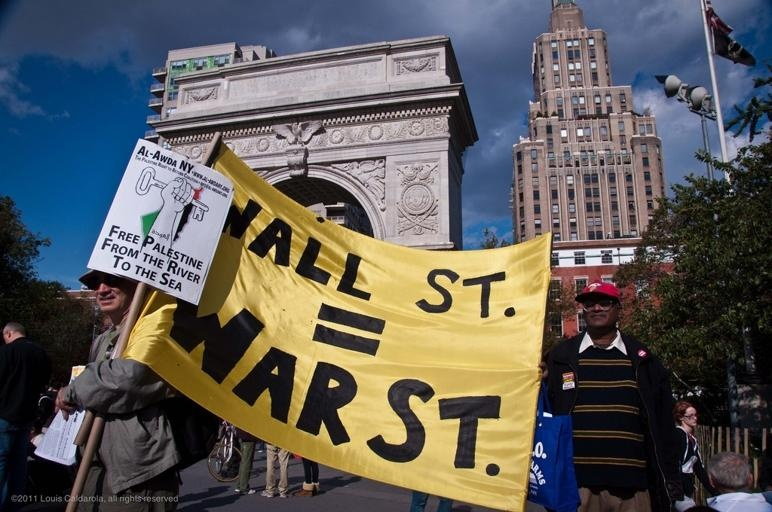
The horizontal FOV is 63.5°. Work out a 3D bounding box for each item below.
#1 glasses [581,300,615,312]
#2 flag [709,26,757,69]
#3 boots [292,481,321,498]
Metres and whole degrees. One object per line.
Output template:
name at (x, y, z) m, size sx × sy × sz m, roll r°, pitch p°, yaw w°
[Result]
glasses at (2.473, 0.572, 7.298) m, size 0.222 × 0.171 × 0.379 m, roll -1°, pitch -10°, yaw 29°
flag at (10.526, -6.310, 19.045) m, size 0.524 × 1.908 × 1.098 m, roll 5°, pitch -20°, yaw -7°
boots at (-1.557, 4.735, 12.636) m, size 0.656 × 0.336 × 0.232 m, roll 2°, pitch -15°, yaw 3°
